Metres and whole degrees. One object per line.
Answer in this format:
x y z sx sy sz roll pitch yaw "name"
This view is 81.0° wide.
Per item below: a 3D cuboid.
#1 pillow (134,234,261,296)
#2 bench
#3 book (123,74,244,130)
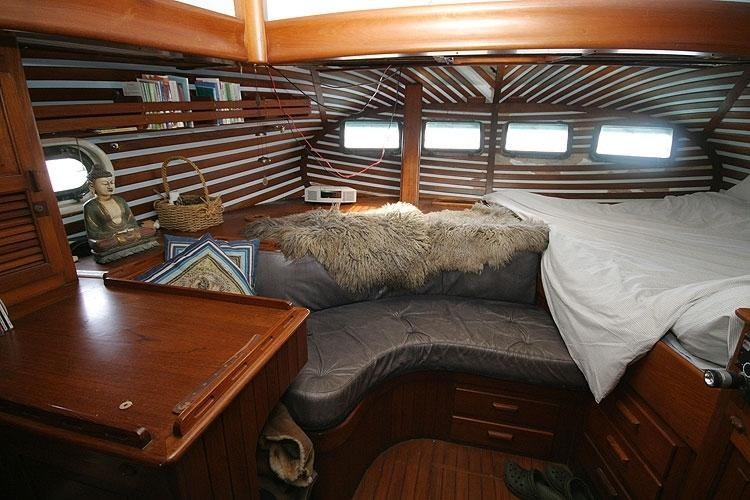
-0.817 0.120 2.257 0.447 0.110 0.412 18 16 18 "pillow"
0.265 0.468 2.463 1.794 0.583 0.932 -4 29 -9 "bench"
-1.093 -0.881 2.610 0.252 0.306 0.684 14 21 31 "book"
